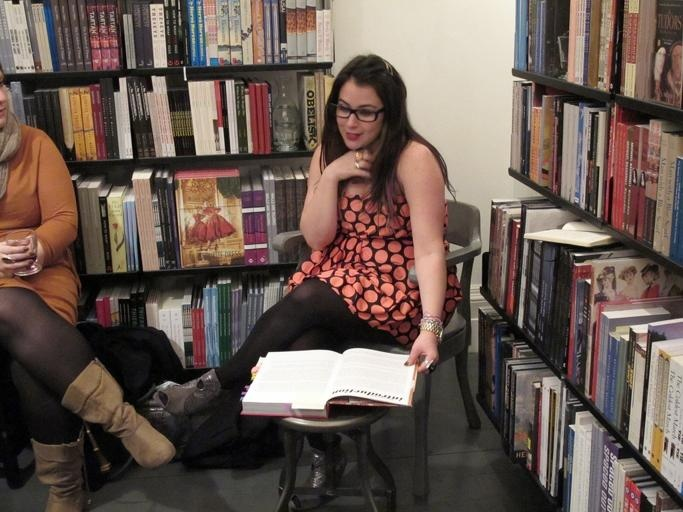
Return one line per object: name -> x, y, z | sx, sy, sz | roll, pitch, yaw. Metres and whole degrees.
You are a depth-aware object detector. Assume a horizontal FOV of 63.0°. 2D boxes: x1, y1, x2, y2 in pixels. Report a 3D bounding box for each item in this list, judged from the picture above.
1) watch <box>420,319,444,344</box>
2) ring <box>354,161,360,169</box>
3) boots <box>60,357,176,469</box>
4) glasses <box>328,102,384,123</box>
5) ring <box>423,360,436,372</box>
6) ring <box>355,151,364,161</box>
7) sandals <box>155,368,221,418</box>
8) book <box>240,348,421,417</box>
watch -> 0.279, 0.231, 1.716 | 0.057, 0.075, 0.054 | 14, 58, 11
ring -> 0.054, -0.313, 1.922 | 0.015, 0.022, 0.007 | -12, -8, 43
boots -> -0.838, 0.626, 2.138 | 0.180, 0.461, 0.270 | -37, 13, 49
glasses -> 0.060, -0.472, 1.836 | 0.155, 0.068, 0.035 | -2, 18, 4
ring -> 0.251, 0.315, 1.612 | 0.019, 0.023, 0.058 | 5, 20, 15
ring -> 0.058, -0.342, 1.921 | 0.021, 0.032, 0.009 | 1, -4, 27
sandals -> -0.622, 0.559, 2.244 | 0.389, 0.156, 0.141 | -19, 36, 38
book -> -0.024, 0.351, 1.524 | 0.449, 0.105, 0.243 | -1, 19, 7
